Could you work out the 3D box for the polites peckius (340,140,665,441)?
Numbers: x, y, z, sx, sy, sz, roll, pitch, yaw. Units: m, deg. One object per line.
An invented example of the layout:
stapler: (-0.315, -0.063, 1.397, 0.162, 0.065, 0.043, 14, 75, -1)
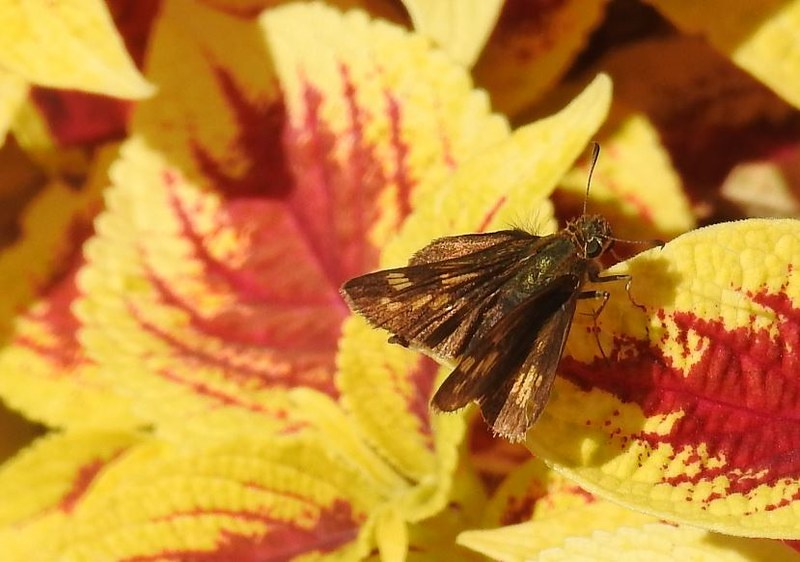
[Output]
polites peckius: (0.114, 0.057, 0.960, 0.262, 0.094, 0.246, -44, 51, 2)
